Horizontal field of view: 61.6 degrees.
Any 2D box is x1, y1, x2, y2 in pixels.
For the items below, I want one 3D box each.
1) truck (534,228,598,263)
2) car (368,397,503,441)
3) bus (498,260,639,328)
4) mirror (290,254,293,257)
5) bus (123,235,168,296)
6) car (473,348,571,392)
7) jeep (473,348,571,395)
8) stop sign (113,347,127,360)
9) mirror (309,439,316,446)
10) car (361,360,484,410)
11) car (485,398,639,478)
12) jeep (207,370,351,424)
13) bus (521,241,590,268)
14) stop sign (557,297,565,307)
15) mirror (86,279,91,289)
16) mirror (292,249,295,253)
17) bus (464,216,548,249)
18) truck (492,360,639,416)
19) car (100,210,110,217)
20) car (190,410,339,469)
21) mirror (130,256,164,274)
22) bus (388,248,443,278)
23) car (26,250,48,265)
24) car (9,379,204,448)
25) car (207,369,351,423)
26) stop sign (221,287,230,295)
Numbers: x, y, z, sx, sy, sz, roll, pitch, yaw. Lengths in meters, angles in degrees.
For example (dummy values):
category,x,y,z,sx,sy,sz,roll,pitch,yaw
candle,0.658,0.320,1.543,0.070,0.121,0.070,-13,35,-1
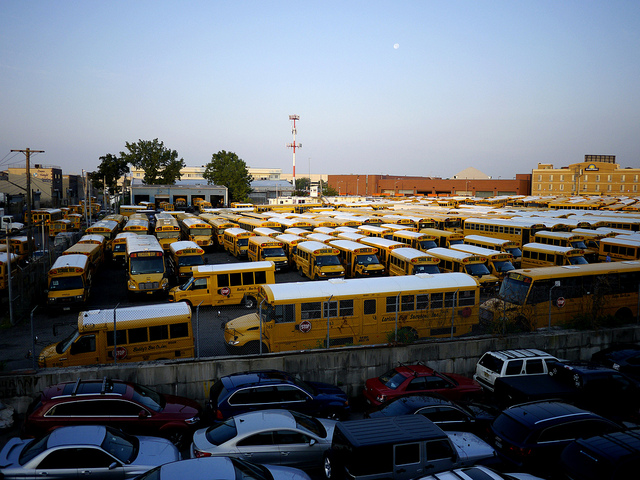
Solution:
category,x,y,z,sx,sy,sz,roll,pitch,yaw
truck,19.368,0.512,42.829,1.544,1.775,5.031,4,3,-17
car,4.747,6.697,19.842,4.213,1.432,1.846,-8,-10,-10
bus,12.548,3.120,27.886,9.094,3.199,3.103,-2,5,-12
mirror,-2.400,1.307,43.871,0.028,0.275,0.725,-5,8,-19
bus,-11.649,2.040,35.467,2.376,3.106,3.382,-6,8,-24
car,9.043,5.693,23.092,4.278,1.808,1.942,1,3,-15
jeep,9.066,5.703,23.053,4.343,1.781,2.019,2,2,-16
stop sign,-8.421,4.668,22.272,0.651,0.632,0.108,-4,2,-39
mirror,-0.275,6.604,17.582,0.185,0.042,0.173,-1,13,-10
car,4.242,5.935,21.929,4.914,1.562,2.082,-1,5,-17
car,8.350,6.556,18.556,4.771,1.718,2.172,-10,17,-19
jeep,-1.509,5.710,20.211,4.815,1.723,2.183,-2,9,-11
bus,16.122,1.385,37.739,1.805,1.966,3.864,-8,11,-30
stop sign,12.035,3.095,26.751,0.492,0.493,0.066,-9,15,-18
mirror,-14.924,2.754,34.276,0.026,0.780,1.909,-5,8,-18
mirror,-2.191,0.899,43.225,0.024,0.320,0.531,-5,8,-19
bus,17.907,-0.540,52.549,3.098,2.559,9.248,-6,13,-20
truck,9.859,5.825,21.397,4.878,1.716,2.462,-5,13,-14
car,-40.293,-4.809,99.514,1.839,0.891,2.754,0,12,-15
car,-1.814,6.959,17.659,4.682,1.416,2.011,-1,22,-7
mirror,-11.425,1.675,35.023,1.572,1.021,1.115,0,-6,-20
bus,6.100,1.466,35.208,1.978,1.827,3.824,-3,9,-19
car,-24.699,1.298,46.610,1.525,1.235,2.466,0,-9,-26
car,-7.400,5.878,19.020,6.140,2.167,2.844,-1,11,-10
car,-1.589,6.161,20.195,4.799,1.716,2.206,-2,9,-11
stop sign,-5.345,2.846,29.892,0.567,0.426,0.075,0,0,36
